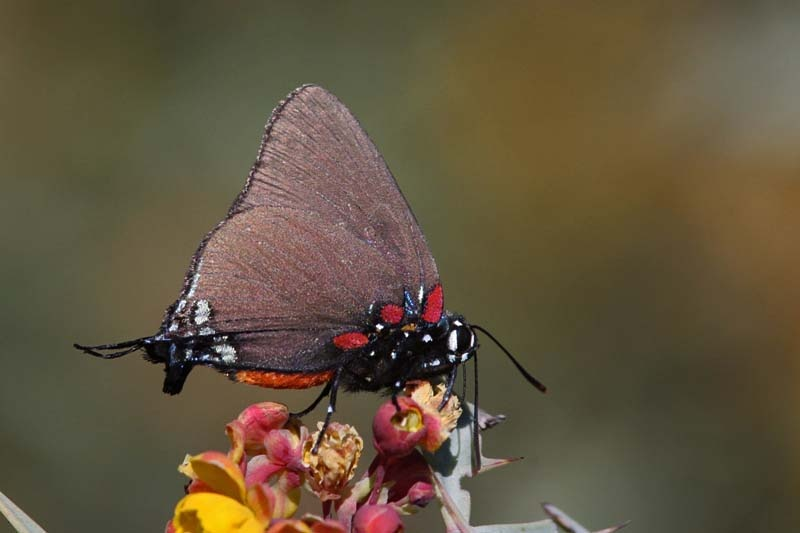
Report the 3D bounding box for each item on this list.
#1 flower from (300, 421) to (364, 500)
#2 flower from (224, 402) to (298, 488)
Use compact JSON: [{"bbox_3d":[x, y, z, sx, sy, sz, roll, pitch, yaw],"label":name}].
[{"bbox_3d":[-0.198,0.543,2.675,0.169,0.219,0.115,1,-29,3],"label":"flower"},{"bbox_3d":[-0.362,0.497,2.704,0.251,0.310,0.140,1,14,-2],"label":"flower"}]
